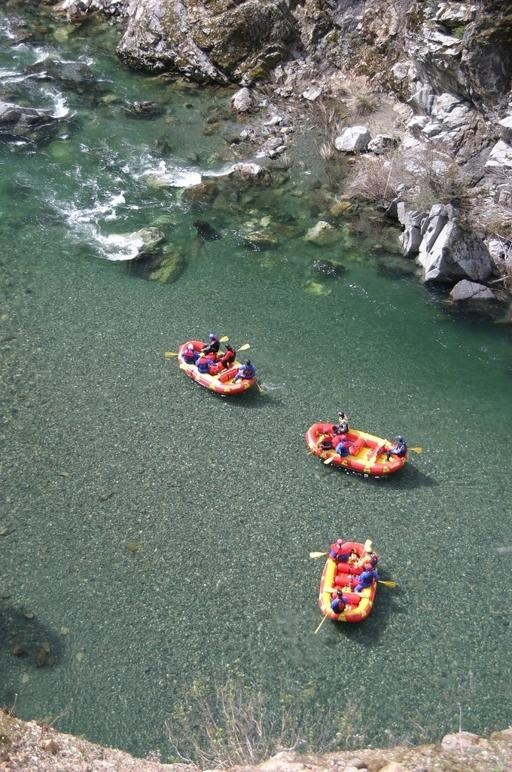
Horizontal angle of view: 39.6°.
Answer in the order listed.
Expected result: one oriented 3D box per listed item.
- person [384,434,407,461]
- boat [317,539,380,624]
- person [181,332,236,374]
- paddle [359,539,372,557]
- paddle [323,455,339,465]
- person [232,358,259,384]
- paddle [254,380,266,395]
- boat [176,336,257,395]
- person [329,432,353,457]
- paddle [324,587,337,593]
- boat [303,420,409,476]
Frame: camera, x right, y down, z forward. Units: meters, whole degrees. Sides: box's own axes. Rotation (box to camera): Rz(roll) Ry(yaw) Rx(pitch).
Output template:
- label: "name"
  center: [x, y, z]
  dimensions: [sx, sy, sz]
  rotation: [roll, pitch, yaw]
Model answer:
- label: "person"
  center: [4.309, 1.878, 21.857]
  dimensions: [0.431, 0.868, 0.638]
  rotation: [-22, 37, -36]
- label: "boat"
  center: [2.500, 5.248, 19.114]
  dimensions: [1.514, 1.624, 1.998]
  rotation: [8, 30, 11]
- label: "person"
  center: [-1.745, -1.138, 24.594]
  dimensions: [1.235, 0.704, 1.679]
  rotation: [-29, 59, -30]
- label: "paddle"
  center: [3.085, 4.453, 19.489]
  dimensions: [0.161, 0.452, 0.343]
  rotation: [21, 5, -37]
- label: "paddle"
  center: [2.289, 2.291, 21.813]
  dimensions: [0.216, 0.467, 0.093]
  rotation: [25, 42, -35]
- label: "person"
  center: [-0.399, -0.426, 23.814]
  dimensions: [0.693, 0.829, 0.688]
  rotation: [7, 29, 10]
- label: "paddle"
  center: [0.193, 0.045, 24.346]
  dimensions: [0.186, 0.186, 0.701]
  rotation: [7, 43, -22]
- label: "boat"
  center: [-1.407, -0.609, 24.228]
  dimensions: [2.675, 0.703, 1.644]
  rotation: [33, 65, 14]
- label: "person"
  center: [2.676, 1.795, 22.026]
  dimensions: [0.589, 0.421, 0.859]
  rotation: [4, 29, 5]
- label: "paddle"
  center: [1.982, 5.392, 18.893]
  dimensions: [0.254, 0.062, 0.142]
  rotation: [0, 42, 7]
- label: "boat"
  center: [2.989, 1.960, 22.070]
  dimensions: [2.371, 0.630, 1.706]
  rotation: [15, 55, 13]
